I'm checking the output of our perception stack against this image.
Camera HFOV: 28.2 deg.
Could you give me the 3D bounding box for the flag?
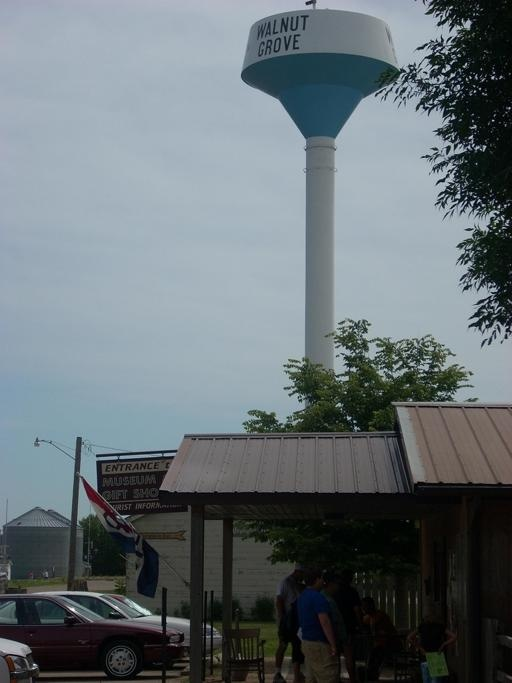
[{"bbox_3d":[-1.761,2.781,14.215,0.658,1.577,2.102,8,-19,-24],"label":"flag"}]
